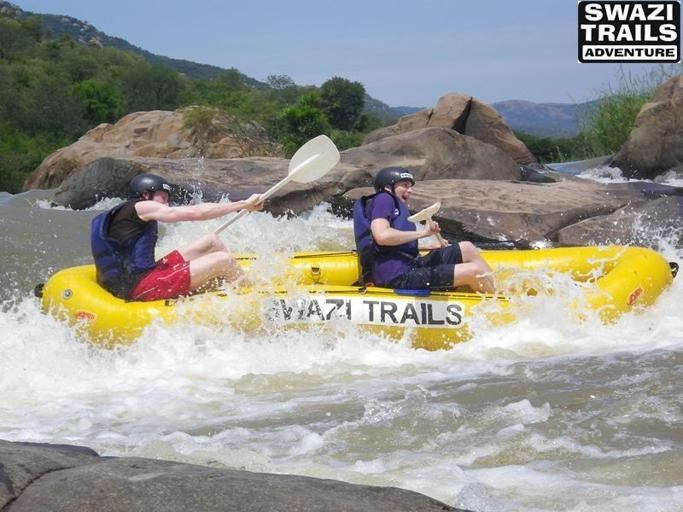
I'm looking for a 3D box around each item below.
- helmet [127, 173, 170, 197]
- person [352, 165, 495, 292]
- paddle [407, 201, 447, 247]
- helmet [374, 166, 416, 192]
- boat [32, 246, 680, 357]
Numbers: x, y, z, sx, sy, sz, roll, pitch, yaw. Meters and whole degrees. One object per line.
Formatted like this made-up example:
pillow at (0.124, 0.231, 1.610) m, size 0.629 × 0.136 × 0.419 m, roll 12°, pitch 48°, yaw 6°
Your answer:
helmet at (-2.154, -0.779, 11.146) m, size 0.391 × 0.232 × 0.275 m, roll 22°, pitch -7°, yaw -5°
person at (1.040, -0.210, 11.447) m, size 2.183 × 1.309 × 0.930 m, roll 9°, pitch -1°, yaw -15°
paddle at (0.962, -0.399, 11.262) m, size 0.507 × 0.168 × 0.671 m, roll -26°, pitch -31°, yaw 5°
helmet at (0.546, -0.873, 11.394) m, size 0.439 × 0.278 × 0.286 m, roll 12°, pitch -1°, yaw 10°
boat at (0.377, 0.487, 11.133) m, size 6.063 × 0.620 × 2.313 m, roll -1°, pitch 8°, yaw 3°
